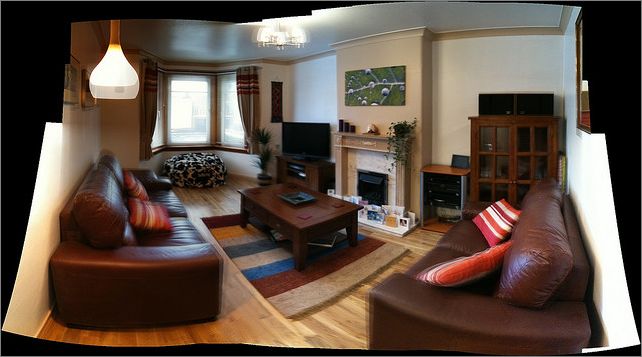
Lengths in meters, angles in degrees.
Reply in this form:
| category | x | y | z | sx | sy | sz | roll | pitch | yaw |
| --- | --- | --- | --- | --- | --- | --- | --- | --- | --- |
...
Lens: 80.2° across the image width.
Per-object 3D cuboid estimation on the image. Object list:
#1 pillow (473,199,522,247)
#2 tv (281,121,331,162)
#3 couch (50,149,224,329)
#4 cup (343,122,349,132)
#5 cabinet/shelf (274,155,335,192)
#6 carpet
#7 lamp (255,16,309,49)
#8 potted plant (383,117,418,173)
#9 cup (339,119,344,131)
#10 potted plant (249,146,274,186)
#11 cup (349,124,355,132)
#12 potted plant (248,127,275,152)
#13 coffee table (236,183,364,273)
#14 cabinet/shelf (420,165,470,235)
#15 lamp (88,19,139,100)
| category | x | y | z | sx | sy | sz | roll | pitch | yaw |
| --- | --- | --- | --- | --- | --- | --- | --- | --- | --- |
| pillow | 1.559 | 0.383 | 3.554 | 0.596 | 0.378 | 0.166 | 2 | -23 | -42 |
| tv | -0.232 | -0.642 | 6.384 | 1.076 | 0.608 | 0.279 | 9 | 13 | 40 |
| couch | -1.602 | 0.518 | 3.289 | 0.774 | 0.548 | 1.726 | -2 | 11 | -21 |
| cup | 0.378 | -0.748 | 5.438 | 0.080 | 0.133 | 0.069 | 0 | 11 | 2 |
| cabinet/shelf | -0.285 | -0.041 | 6.443 | 0.354 | 0.533 | 1.194 | -12 | 17 | -37 |
| carpet | -0.288 | 0.714 | 4.265 | 1.703 | 0.097 | 2.379 | -8 | 26 | -28 |
| lamp | -0.472 | -1.749 | 4.491 | 0.575 | 0.388 | 0.660 | -2 | 10 | -6 |
| potted plant | 1.031 | -0.425 | 4.871 | 0.402 | 0.695 | 0.294 | 2 | 11 | 13 |
| cup | 0.296 | -0.777 | 5.483 | 0.074 | 0.177 | 0.129 | 0 | 10 | 2 |
| potted plant | -1.037 | -0.256 | 6.898 | 0.365 | 0.668 | 0.774 | -2 | 10 | -8 |
| cup | 0.454 | -0.716 | 5.401 | 0.091 | 0.097 | 0.049 | -2 | 11 | -5 |
| potted plant | -1.090 | -0.731 | 7.113 | 0.529 | 0.480 | 0.486 | 2 | 2 | 9 |
| coffee table | -0.296 | 0.428 | 4.507 | 0.882 | 0.432 | 1.306 | -17 | 26 | -37 |
| cabinet/shelf | 1.573 | 0.296 | 4.776 | 0.505 | 0.574 | 0.419 | 11 | 15 | 38 |
| lamp | -1.501 | -0.864 | 2.748 | 0.336 | 0.544 | 0.523 | -6 | 12 | -27 |
